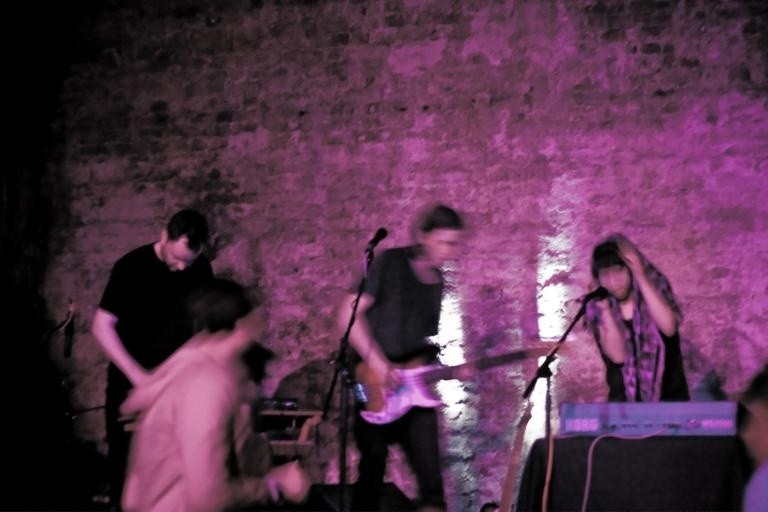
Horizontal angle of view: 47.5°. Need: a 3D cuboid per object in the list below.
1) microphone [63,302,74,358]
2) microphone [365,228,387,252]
[{"bbox_3d":[-2.698,0.645,7.488,0.102,0.469,0.055,3,-6,-26],"label":"microphone"},{"bbox_3d":[-0.044,-0.118,6.450,0.032,0.109,0.221,-7,-34,-44],"label":"microphone"}]
